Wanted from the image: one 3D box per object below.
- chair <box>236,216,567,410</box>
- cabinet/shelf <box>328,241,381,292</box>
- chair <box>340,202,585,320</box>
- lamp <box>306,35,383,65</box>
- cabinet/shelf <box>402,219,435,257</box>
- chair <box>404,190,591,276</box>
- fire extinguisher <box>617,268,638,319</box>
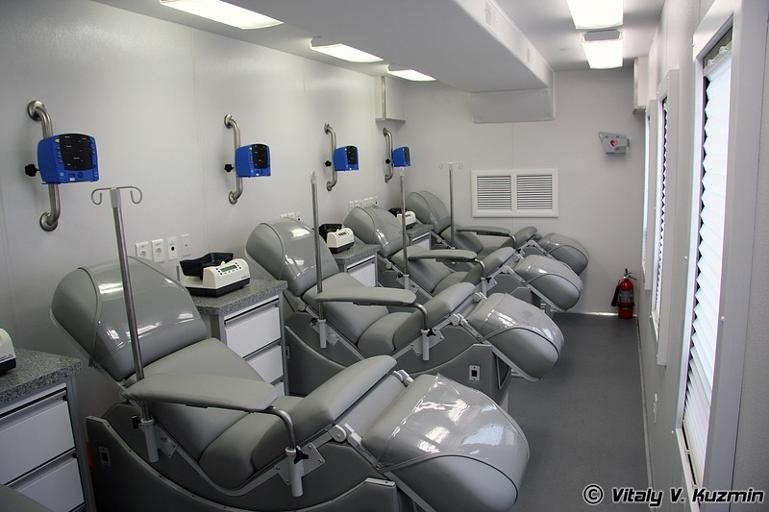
[{"bbox_3d":[0.210,0.187,4.222,2.182,1.278,1.358,5,9,16],"label":"chair"},{"bbox_3d":[-0.305,0.065,4.963,0.370,0.555,0.585,3,10,21],"label":"cabinet/shelf"},{"bbox_3d":[0.840,0.105,5.227,1.877,0.780,1.360,7,7,16],"label":"chair"},{"bbox_3d":[-0.357,-1.908,4.642,0.335,0.094,0.883,3,14,17],"label":"lamp"},{"bbox_3d":[0.436,-0.222,6.020,0.326,0.545,0.547,3,10,28],"label":"cabinet/shelf"},{"bbox_3d":[1.461,-0.273,6.462,1.729,0.711,1.257,5,6,16],"label":"chair"},{"bbox_3d":[3.089,0.485,6.420,0.228,0.592,0.298,6,15,27],"label":"fire extinguisher"}]
